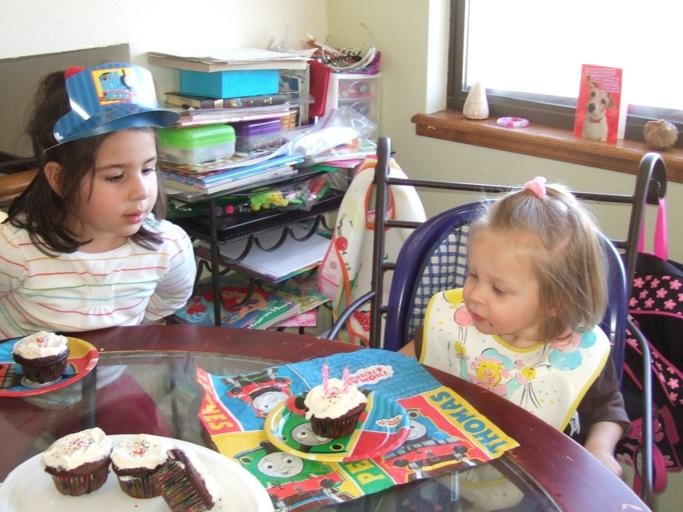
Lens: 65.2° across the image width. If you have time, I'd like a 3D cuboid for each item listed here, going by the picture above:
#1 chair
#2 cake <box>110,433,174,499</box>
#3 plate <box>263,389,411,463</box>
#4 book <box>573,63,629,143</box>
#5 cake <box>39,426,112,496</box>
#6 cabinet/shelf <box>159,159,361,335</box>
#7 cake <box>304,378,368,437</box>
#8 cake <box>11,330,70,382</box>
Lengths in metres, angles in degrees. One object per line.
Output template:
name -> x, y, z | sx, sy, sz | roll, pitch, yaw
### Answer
chair -> 0.368, 0.020, 1.580 | 0.605, 0.756, 0.578 | 19, 25, 27
cake -> -0.285, 0.291, 0.768 | 0.083, 0.054, 0.082 | 0, 21, -8
plate -> -0.007, 0.292, 0.906 | 0.242, 0.029, 0.161 | -4, 23, -8
book -> 1.061, -0.627, 2.193 | 0.086, 0.290, 0.210 | -19, 31, -33
cake -> -0.384, 0.295, 0.770 | 0.084, 0.054, 0.086 | -6, 18, -16
cabinet/shelf -> -0.308, -0.041, 2.006 | 0.373, 0.527, 0.603 | 25, 37, 36
cake -> -0.018, 0.252, 0.908 | 0.091, 0.059, 0.089 | -2, 27, -1
cake -> -0.557, 0.188, 1.015 | 0.098, 0.064, 0.092 | 1, 21, -5
